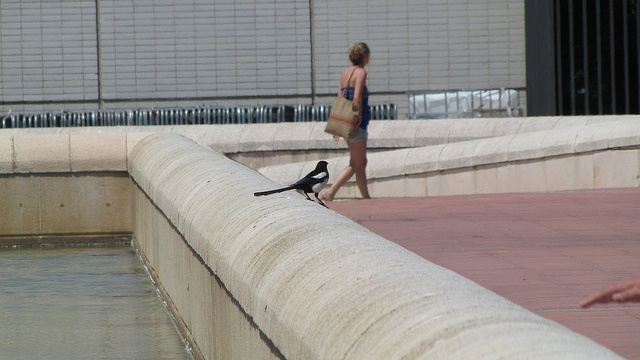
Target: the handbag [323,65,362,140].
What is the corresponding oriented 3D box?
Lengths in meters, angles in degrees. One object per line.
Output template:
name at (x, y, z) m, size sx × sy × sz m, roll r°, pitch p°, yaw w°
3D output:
handbag at (0.548, -1.471, 39.752) m, size 0.811 × 1.314 × 0.157 m, roll -5°, pitch -1°, yaw 1°
